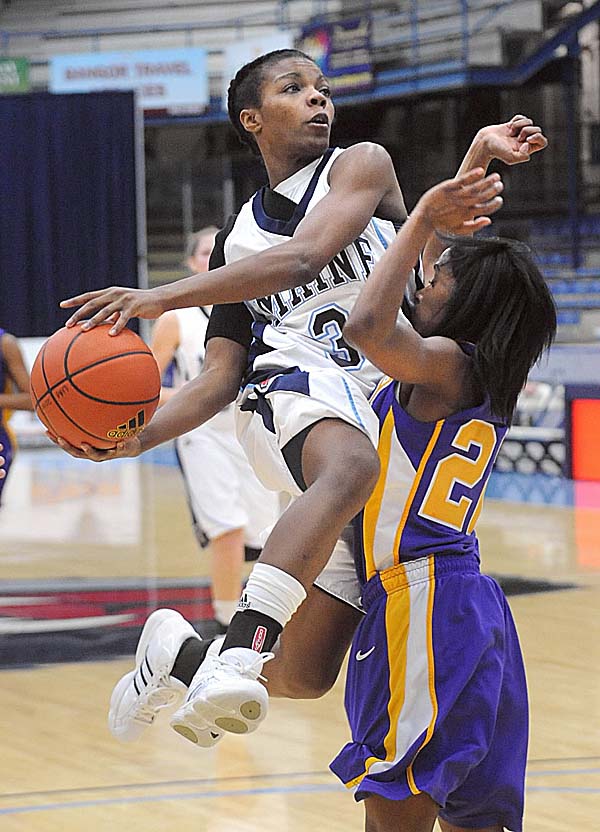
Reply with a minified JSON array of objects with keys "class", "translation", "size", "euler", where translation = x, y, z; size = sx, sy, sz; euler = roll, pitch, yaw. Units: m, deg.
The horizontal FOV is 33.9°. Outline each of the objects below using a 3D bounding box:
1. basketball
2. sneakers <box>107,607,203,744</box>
[{"class":"basketball","translation":[-0.351,-0.054,1.950],"size":[0.254,0.241,0.244],"euler":[-5,0,0]},{"class":"sneakers","translation":[-0.325,0.561,2.053],"size":[0.132,0.358,0.153],"euler":[21,34,-18]}]
